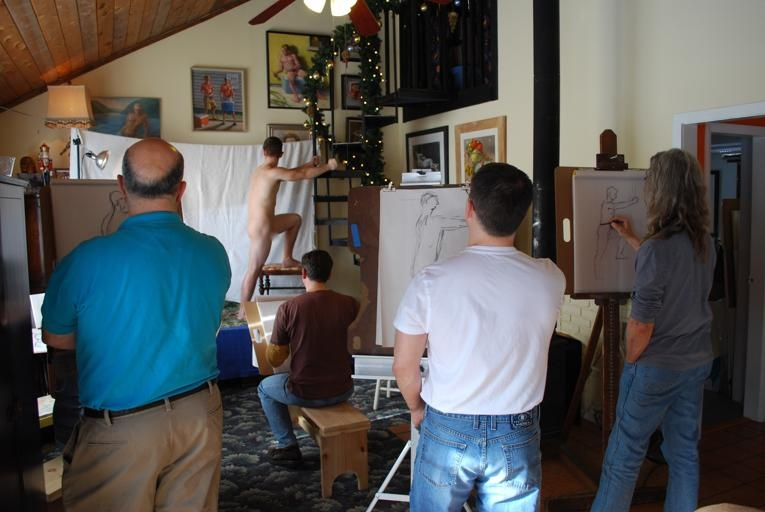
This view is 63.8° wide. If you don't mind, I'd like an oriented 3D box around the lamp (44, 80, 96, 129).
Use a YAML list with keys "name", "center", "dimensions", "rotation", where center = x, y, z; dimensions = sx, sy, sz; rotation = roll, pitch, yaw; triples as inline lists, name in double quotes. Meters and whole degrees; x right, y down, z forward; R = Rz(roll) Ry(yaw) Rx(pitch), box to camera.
- name: "lamp"
  center: [-3.282, -1.557, 6.405]
  dimensions: [0.446, 0.405, 0.443]
  rotation: [1, 10, 2]

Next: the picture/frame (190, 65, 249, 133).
- name: "picture/frame"
  center: [-2.018, -1.939, 7.461]
  dimensions: [0.762, 0.952, 0.064]
  rotation: [-2, 12, -12]

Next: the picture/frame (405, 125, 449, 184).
- name: "picture/frame"
  center: [0.515, -1.128, 7.306]
  dimensions: [0.618, 0.658, 0.023]
  rotation: [7, 9, 43]

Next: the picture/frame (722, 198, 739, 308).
- name: "picture/frame"
  center: [3.230, -0.028, 5.753]
  dimensions: [0.137, 0.993, 0.292]
  rotation: [2, 7, 29]

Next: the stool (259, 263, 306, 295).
- name: "stool"
  center: [-1.231, 0.291, 7.387]
  dimensions: [0.517, 0.466, 0.423]
  rotation: [-2, 4, -21]

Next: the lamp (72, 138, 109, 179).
- name: "lamp"
  center: [-3.274, -1.104, 6.861]
  dimensions: [0.294, 0.742, 0.203]
  rotation: [8, 36, -20]
